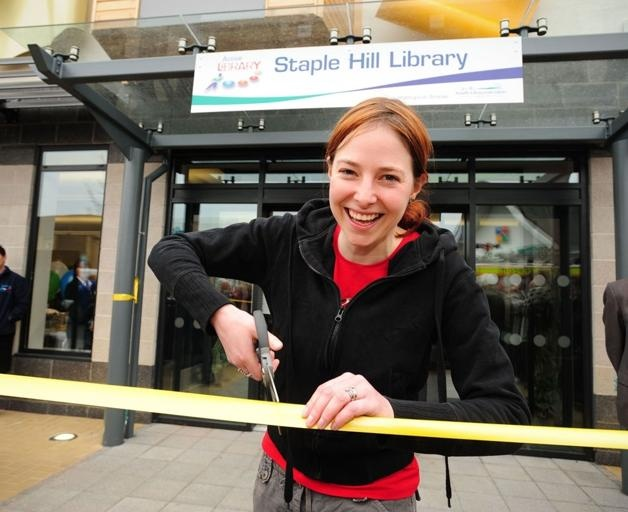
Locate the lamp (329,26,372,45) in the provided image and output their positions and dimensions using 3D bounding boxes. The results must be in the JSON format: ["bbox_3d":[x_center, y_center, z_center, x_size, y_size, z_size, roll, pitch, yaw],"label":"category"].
[{"bbox_3d":[0.331,-1.958,4.567,0.376,0.114,0.085,2,1,9],"label":"lamp"}]

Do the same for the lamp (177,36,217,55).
[{"bbox_3d":[-1.140,-2.019,4.888,0.273,0.111,0.061,-2,-30,2],"label":"lamp"}]

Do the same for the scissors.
[{"bbox_3d":[-0.240,0.503,2.535,0.116,0.387,0.147,2,1,-38],"label":"scissors"}]
